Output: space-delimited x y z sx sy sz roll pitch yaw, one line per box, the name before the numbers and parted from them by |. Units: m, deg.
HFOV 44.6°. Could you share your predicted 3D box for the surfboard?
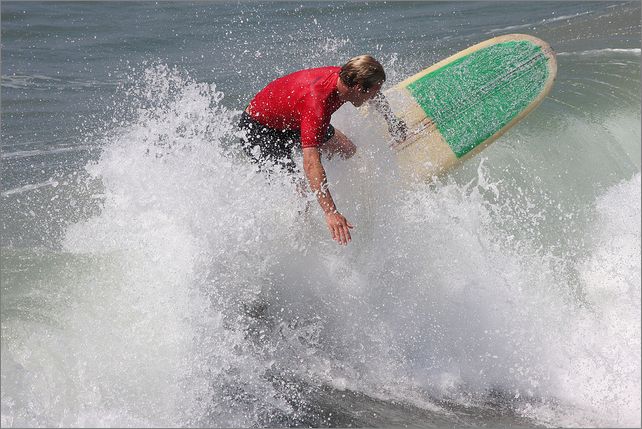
surfboard | 1.862 -1.474 10.074 4.239 0.465 1.329 -30 80 -27
